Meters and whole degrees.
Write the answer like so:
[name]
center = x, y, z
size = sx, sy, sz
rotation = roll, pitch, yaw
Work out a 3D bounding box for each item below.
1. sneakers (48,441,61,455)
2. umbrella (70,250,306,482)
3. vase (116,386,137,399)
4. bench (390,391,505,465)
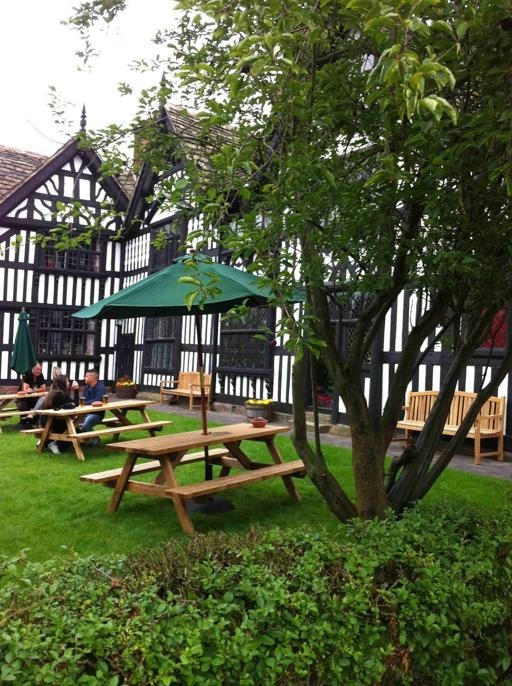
[sneakers]
center = -3.140, 1.616, 8.404
size = 0.184, 0.190, 0.072
rotation = -1, -37, -48
[umbrella]
center = -0.275, 0.036, 4.864
size = 2.042, 1.319, 2.016
rotation = -2, -3, -22
[vase]
center = -4.642, 1.691, 19.208
size = 0.544, 0.287, 0.534
rotation = -2, -3, 10
[bench]
center = 3.073, 1.156, 8.592
size = 0.940, 1.007, 1.708
rotation = -2, 14, -39
